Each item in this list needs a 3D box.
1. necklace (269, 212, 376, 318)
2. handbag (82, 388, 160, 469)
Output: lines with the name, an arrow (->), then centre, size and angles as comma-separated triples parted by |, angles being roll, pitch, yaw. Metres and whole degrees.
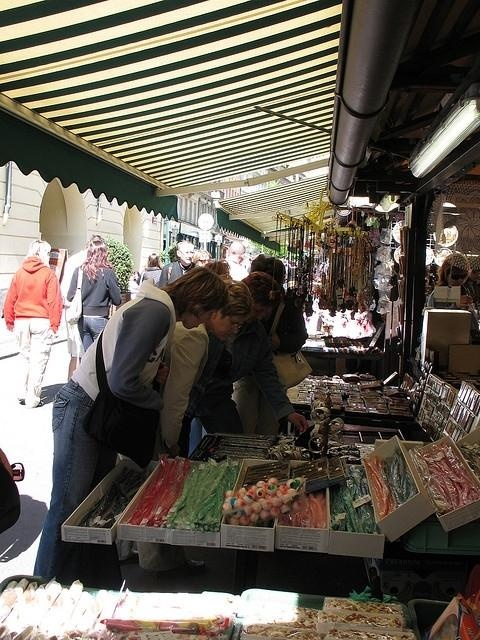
necklace -> 0.895, -0.608, 4.182 | 1.306, 1.264, 0.511 | 1, 9, -4
handbag -> -0.552, 0.520, 1.846 | 0.371, 0.319, 0.137 | 22, 2, -24
